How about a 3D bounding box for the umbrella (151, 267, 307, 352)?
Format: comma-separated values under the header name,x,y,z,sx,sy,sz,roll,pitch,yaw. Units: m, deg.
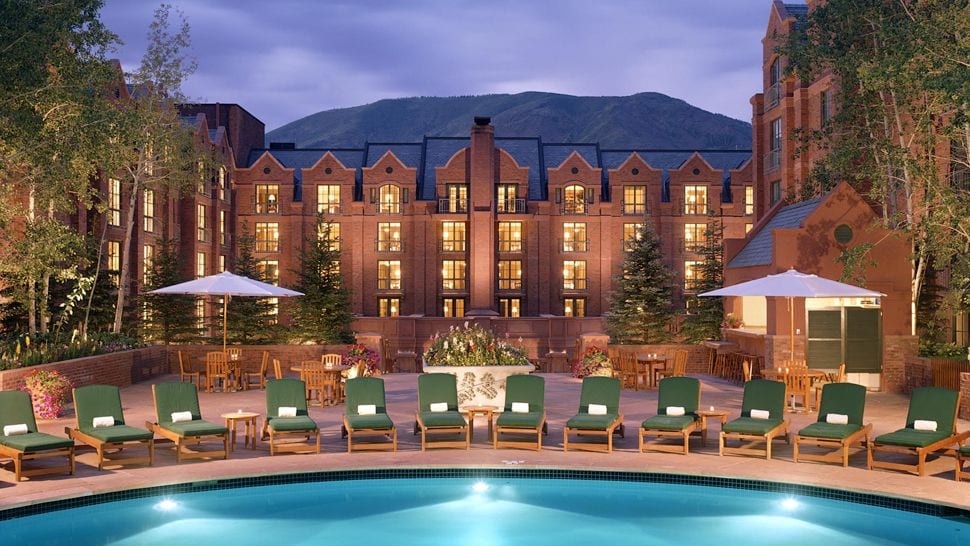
name,x,y,z,sx,sy,sz,roll,pitch,yaw
umbrella,-10.820,0.881,41.741,5.215,2.828,4.885,3,-2,6
